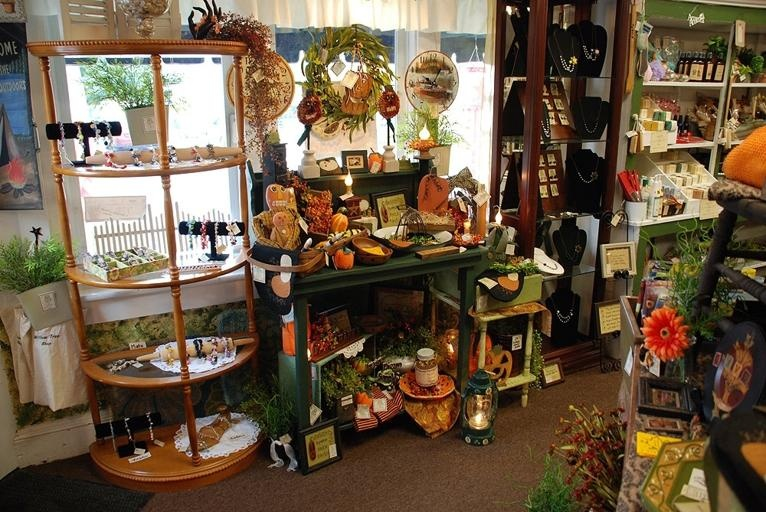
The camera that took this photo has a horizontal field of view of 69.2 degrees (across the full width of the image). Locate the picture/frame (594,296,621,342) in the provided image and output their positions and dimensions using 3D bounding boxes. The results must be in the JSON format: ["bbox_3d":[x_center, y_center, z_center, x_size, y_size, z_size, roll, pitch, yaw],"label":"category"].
[{"bbox_3d":[1.924,0.537,4.702,0.306,0.298,0.027,-7,4,-30],"label":"picture/frame"}]

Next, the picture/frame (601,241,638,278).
[{"bbox_3d":[1.957,0.028,4.610,0.282,0.251,0.027,-5,1,-5],"label":"picture/frame"}]

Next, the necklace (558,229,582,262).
[{"bbox_3d":[1.585,-0.099,4.734,0.218,0.370,0.109,-5,22,-8],"label":"necklace"}]

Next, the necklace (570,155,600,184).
[{"bbox_3d":[1.683,-0.716,4.592,0.213,0.244,0.067,0,0,9],"label":"necklace"}]

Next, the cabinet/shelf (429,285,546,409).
[{"bbox_3d":[0.786,0.784,4.437,0.906,0.791,0.911,5,3,33],"label":"cabinet/shelf"}]

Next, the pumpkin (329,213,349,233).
[{"bbox_3d":[-0.300,-0.230,3.808,0.114,0.139,0.119,7,9,15],"label":"pumpkin"}]

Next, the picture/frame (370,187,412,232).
[{"bbox_3d":[0.044,-0.341,4.164,0.277,0.268,0.020,-20,21,-34],"label":"picture/frame"}]

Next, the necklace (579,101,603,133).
[{"bbox_3d":[1.668,-1.125,4.467,0.219,0.289,0.145,0,15,-2],"label":"necklace"}]

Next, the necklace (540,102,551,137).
[{"bbox_3d":[1.256,-1.034,4.280,0.084,0.277,0.035,2,-10,-27],"label":"necklace"}]

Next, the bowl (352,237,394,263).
[{"bbox_3d":[-0.084,-0.066,3.715,0.200,0.087,0.193,16,22,-7],"label":"bowl"}]

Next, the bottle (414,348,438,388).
[{"bbox_3d":[0.328,0.837,4.127,0.162,0.219,0.211,-4,6,15],"label":"bottle"}]

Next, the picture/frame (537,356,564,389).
[{"bbox_3d":[1.374,0.964,4.572,0.248,0.259,0.028,-8,7,-34],"label":"picture/frame"}]

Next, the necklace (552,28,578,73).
[{"bbox_3d":[1.400,-1.556,4.261,0.278,0.374,0.031,-5,-2,-27],"label":"necklace"}]

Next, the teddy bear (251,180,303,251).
[{"bbox_3d":[-0.682,-0.240,3.641,0.259,0.459,0.343,13,18,35],"label":"teddy bear"}]

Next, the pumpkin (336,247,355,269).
[{"bbox_3d":[-0.232,0.013,3.653,0.120,0.155,0.123,2,7,2],"label":"pumpkin"}]

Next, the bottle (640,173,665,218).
[{"bbox_3d":[2.276,-0.498,4.666,0.150,0.339,0.243,13,24,43],"label":"bottle"}]

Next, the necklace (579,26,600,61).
[{"bbox_3d":[1.638,-1.735,4.395,0.114,0.056,0.237,18,-15,41],"label":"necklace"}]

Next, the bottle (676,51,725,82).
[{"bbox_3d":[2.735,-1.627,4.794,0.277,0.186,0.146,-1,18,-10],"label":"bottle"}]

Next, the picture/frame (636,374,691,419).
[{"bbox_3d":[1.223,0.619,2.419,0.181,0.076,0.145,0,48,8],"label":"picture/frame"}]

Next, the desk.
[{"bbox_3d":[0.016,0.736,4.009,1.478,1.477,0.641,-7,5,5],"label":"desk"}]

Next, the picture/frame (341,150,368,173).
[{"bbox_3d":[-0.209,-0.681,4.031,0.168,0.152,0.018,-4,4,-34],"label":"picture/frame"}]

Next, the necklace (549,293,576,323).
[{"bbox_3d":[1.563,0.446,4.790,0.227,0.242,0.064,-1,-3,-2],"label":"necklace"}]

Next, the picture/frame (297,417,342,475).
[{"bbox_3d":[-0.440,1.280,3.733,0.328,0.343,0.033,-10,12,-35],"label":"picture/frame"}]
